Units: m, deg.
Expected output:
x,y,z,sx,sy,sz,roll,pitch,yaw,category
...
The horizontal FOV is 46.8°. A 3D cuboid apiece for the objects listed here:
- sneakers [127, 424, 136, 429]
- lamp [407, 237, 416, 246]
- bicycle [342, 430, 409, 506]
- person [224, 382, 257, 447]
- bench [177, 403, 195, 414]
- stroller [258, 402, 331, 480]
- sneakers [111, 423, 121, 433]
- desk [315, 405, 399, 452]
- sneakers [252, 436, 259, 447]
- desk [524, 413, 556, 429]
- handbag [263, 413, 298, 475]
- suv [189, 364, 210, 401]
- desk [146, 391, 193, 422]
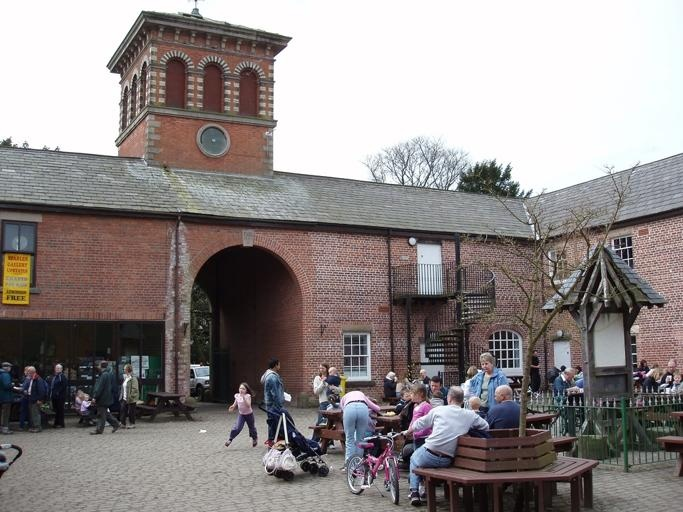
x,y,z,sx,sy,sz,roll,pitch,yaw,category
-5.692,4.632,21.400,0.083,0.158,0.221,-11,-22,41,sneakers
2.625,-0.519,29.229,0.289,0.296,0.068,2,-2,-42,lamp
0.706,3.677,13.757,0.700,0.902,1.377,9,-16,-31,bicycle
-2.364,3.808,18.977,0.718,1.473,2.683,0,-11,-7,person
-4.551,4.491,23.174,0.439,0.318,0.837,1,-12,-12,bench
-0.902,3.530,14.954,1.240,1.336,0.738,4,-6,-36,stroller
-5.888,4.538,20.659,0.139,0.186,0.431,0,-16,-4,sneakers
0.336,3.713,17.041,1.686,0.853,1.554,1,-8,-41,desk
-1.959,4.260,18.049,0.086,0.259,0.110,1,10,5,sneakers
3.917,3.247,15.498,0.523,0.303,1.448,-5,-12,20,desk
-1.174,3.535,14.758,0.470,1.218,0.819,2,2,-38,handbag
-6.767,5.990,38.187,1.158,1.159,2.198,5,-19,-22,suv
-4.961,4.345,23.035,1.009,0.636,1.227,7,-15,-25,desk
